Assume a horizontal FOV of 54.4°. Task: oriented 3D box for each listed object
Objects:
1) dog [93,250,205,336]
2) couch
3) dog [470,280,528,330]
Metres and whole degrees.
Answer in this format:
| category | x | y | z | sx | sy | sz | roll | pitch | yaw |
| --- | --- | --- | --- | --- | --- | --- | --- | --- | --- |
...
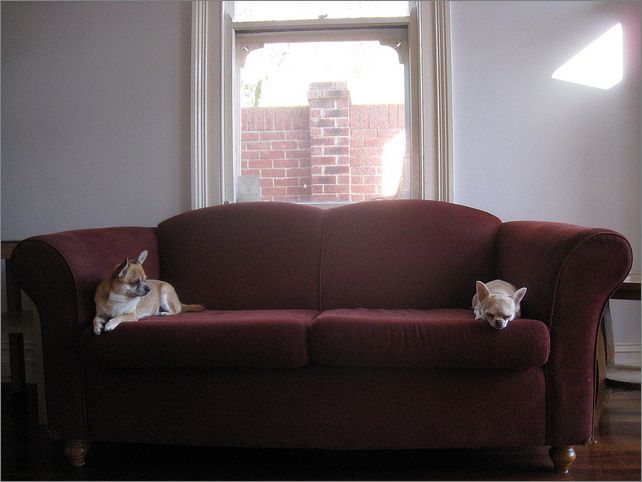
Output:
| category | x | y | z | sx | sy | sz | roll | pitch | yaw |
| --- | --- | --- | --- | --- | --- | --- | --- | --- | --- |
| dog | -0.920 | 0.266 | 3.226 | 0.304 | 0.376 | 0.755 | 3 | 3 | 23 |
| couch | 0.030 | 0.483 | 3.213 | 2.699 | 1.134 | 0.735 | 0 | 5 | 3 |
| dog | 0.862 | 0.291 | 3.013 | 0.245 | 0.187 | 0.410 | 1 | 5 | 14 |
